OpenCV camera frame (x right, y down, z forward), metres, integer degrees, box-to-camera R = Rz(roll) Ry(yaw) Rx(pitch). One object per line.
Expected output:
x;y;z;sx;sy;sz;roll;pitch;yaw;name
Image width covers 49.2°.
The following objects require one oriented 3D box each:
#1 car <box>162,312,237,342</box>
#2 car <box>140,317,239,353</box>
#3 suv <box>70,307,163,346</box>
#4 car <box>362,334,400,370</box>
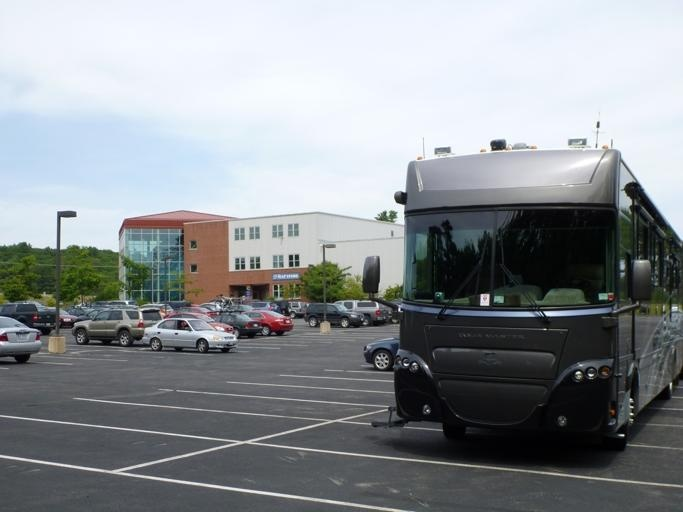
-6.679;3.941;34.927;4.111;1.409;1.830;-1;-1;29;car
-6.557;3.809;32.635;3.734;1.289;1.679;-3;-3;29;car
-11.118;3.812;36.827;3.946;1.698;2.123;1;-1;25;suv
1.229;3.200;22.690;1.950;0.863;1.057;0;-5;8;car
